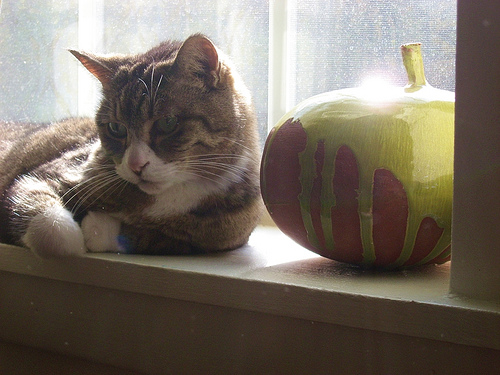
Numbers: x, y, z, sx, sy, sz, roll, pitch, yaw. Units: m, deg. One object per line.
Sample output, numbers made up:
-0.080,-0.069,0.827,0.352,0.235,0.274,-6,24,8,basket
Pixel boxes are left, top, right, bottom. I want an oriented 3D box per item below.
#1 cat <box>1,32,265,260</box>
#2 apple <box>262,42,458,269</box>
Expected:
-0.275,-0.079,1.065,0.567,0.430,0.271,5,8,22,cat
0.205,-0.059,1.013,0.386,0.378,0.386,-5,11,8,apple
